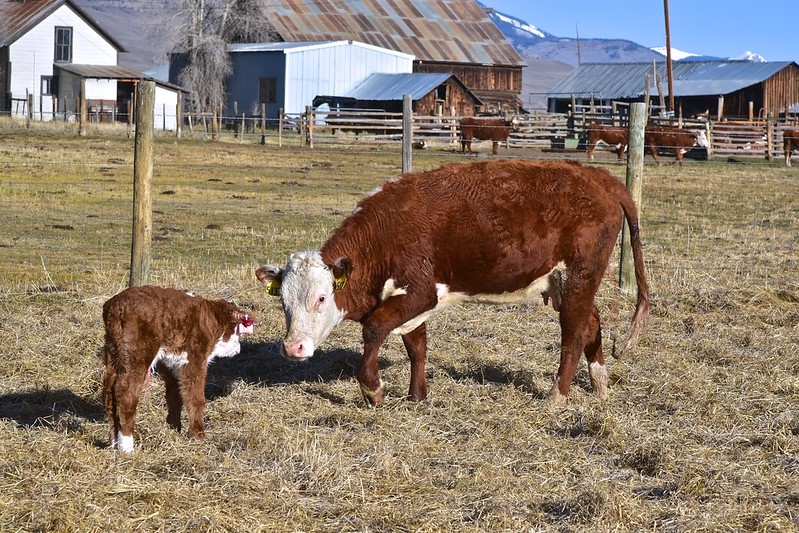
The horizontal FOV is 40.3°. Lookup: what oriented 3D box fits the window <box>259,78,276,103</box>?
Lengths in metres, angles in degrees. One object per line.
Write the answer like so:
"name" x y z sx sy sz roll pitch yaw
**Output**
"window" -6.268 -8.436 51.521 0.109 1.300 0.939 -7 11 -42
